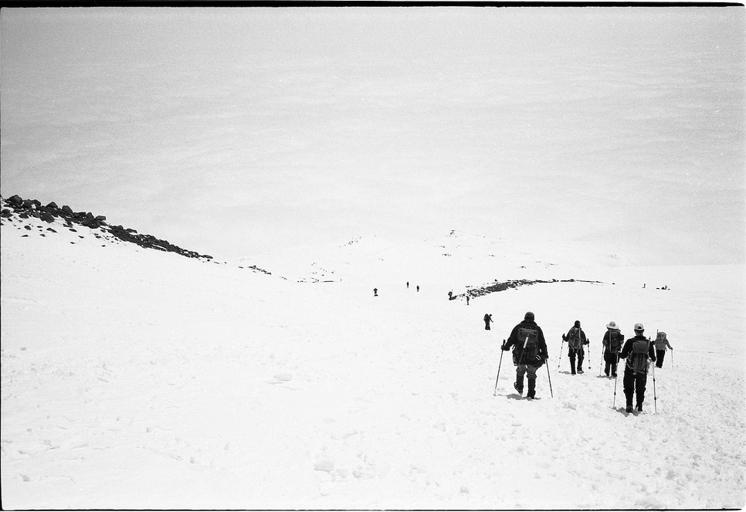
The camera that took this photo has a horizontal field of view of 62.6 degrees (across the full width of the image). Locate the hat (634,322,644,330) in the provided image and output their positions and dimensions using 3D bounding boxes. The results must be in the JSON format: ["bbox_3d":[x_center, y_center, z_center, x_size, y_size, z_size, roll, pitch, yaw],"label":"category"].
[{"bbox_3d":[8.238,2.206,19.112,0.406,0.231,0.591,-1,-5,16],"label":"hat"}]

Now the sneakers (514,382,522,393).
[{"bbox_3d":[4.748,4.392,20.187,0.183,0.460,0.206,5,-1,2],"label":"sneakers"}]

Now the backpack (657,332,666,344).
[{"bbox_3d":[10.384,2.927,22.266,0.238,0.337,0.325,-2,-8,0],"label":"backpack"}]

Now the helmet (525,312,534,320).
[{"bbox_3d":[5.004,1.921,19.668,0.224,0.274,0.292,4,6,-4],"label":"helmet"}]

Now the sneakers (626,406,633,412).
[{"bbox_3d":[8.140,4.883,19.589,0.206,0.160,0.166,-2,-8,26],"label":"sneakers"}]

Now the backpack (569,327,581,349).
[{"bbox_3d":[7.147,2.917,21.797,0.491,0.779,0.262,3,-3,9],"label":"backpack"}]

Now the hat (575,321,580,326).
[{"bbox_3d":[7.230,2.416,21.836,0.149,0.181,0.148,3,-3,6],"label":"hat"}]
